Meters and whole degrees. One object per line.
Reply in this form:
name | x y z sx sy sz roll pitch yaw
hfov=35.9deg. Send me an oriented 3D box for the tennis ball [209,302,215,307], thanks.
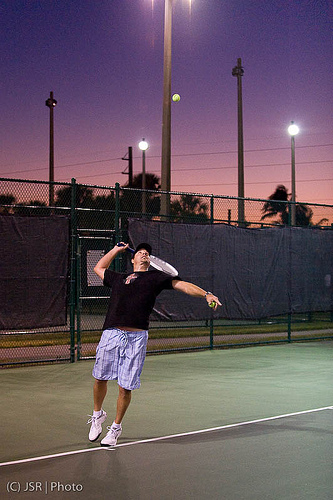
tennis ball | 0.349 0.414 3.933 0.011 0.036 0.024 22 4 27
